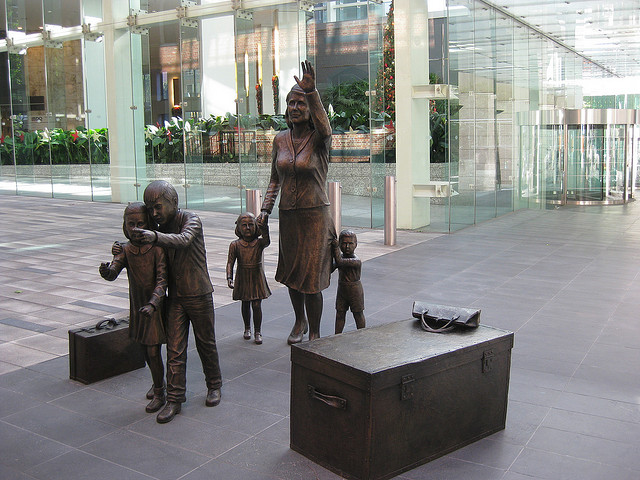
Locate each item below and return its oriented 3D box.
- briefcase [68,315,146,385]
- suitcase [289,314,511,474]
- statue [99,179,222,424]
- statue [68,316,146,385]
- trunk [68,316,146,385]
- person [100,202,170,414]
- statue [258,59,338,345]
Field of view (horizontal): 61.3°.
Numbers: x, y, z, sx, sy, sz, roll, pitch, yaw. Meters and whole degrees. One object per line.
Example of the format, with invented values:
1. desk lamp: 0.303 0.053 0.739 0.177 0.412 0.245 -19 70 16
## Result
1. briefcase: -2.057 1.059 5.284 0.232 0.522 0.720 5 5 28
2. suitcase: 0.421 0.724 3.842 1.475 0.780 0.836 -8 14 -37
3. statue: -1.272 0.494 4.441 0.959 1.944 0.935 -5 6 -32
4. statue: -2.056 1.056 5.273 0.213 0.541 0.676 7 7 29
5. trunk: -2.059 1.043 5.284 0.243 0.543 0.712 7 6 27
6. person: -1.440 0.565 4.428 0.457 1.741 0.594 -4 11 2
7. statue: -0.222 -0.341 5.448 0.777 2.675 0.666 0 12 22
